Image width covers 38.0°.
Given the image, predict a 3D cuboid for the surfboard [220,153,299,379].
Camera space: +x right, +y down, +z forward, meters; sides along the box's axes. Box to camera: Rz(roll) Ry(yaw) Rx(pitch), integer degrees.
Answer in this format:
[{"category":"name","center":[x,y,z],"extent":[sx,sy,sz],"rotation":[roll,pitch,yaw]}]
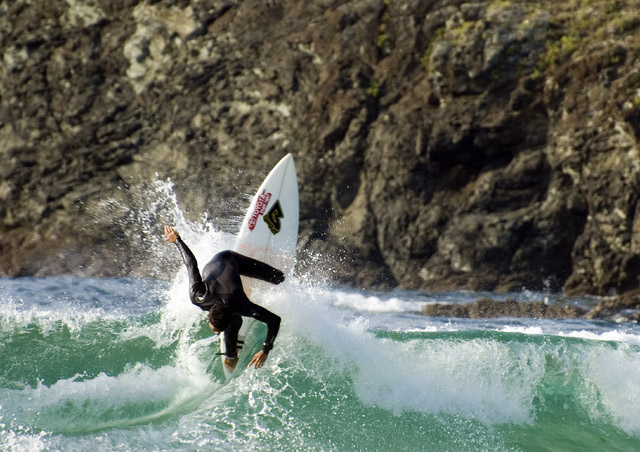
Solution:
[{"category":"surfboard","center":[-1.802,0.066,28.887],"extent":[1.863,7.322,1.730],"rotation":[-1,7,28]}]
